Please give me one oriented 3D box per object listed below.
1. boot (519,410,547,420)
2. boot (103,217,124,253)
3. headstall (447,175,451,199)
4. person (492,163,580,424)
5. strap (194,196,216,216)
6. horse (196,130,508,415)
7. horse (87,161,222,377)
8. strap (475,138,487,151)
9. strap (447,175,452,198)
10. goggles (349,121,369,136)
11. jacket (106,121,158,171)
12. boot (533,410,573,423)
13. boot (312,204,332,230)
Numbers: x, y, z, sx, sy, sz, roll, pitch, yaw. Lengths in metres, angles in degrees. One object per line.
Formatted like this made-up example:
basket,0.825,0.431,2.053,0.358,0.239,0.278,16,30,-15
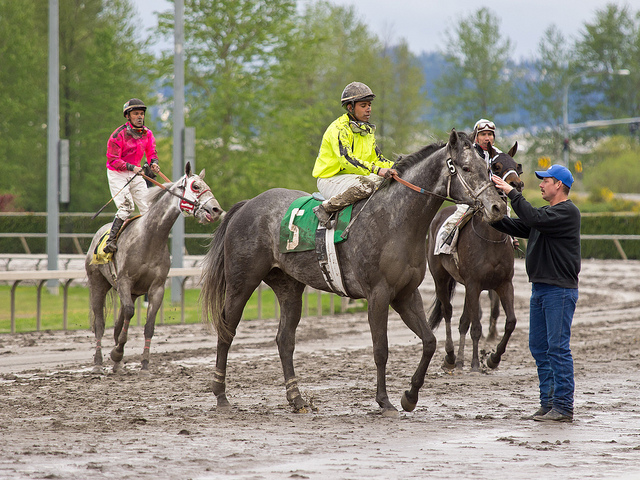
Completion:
boot,3.214,2.567,19.528,0.413,0.185,0.143,1,-7,2
boot,-3.596,-0.106,22.992,0.258,0.572,0.439,2,7,18
headstall,1.967,-0.827,19.699,0.045,0.330,0.057,1,6,6
person,3.383,0.746,19.674,1.034,3.725,1.047,1,7,11
strap,-1.939,-0.576,22.415,0.082,0.312,0.299,29,-5,-10
horse,0.387,0.591,20.688,5.638,4.296,1.543,-4,-8,36
horse,-3.183,0.614,23.149,1.316,3.334,4.175,8,-13,-35
strap,2.760,-1.606,22.055,0.167,0.042,0.176,38,-3,-6
strap,1.960,-0.846,19.682,0.050,0.201,0.193,-1,-15,19
goggles,0.604,-1.735,20.370,0.189,0.104,0.211,25,-12,-23
jacket,-3.338,-1.678,23.308,0.851,0.843,0.482,-2,7,-18
boot,3.500,2.582,19.476,0.489,0.189,0.199,3,-5,2
boot,0.064,-0.348,20.333,0.230,0.390,0.122,-23,-21,-20
